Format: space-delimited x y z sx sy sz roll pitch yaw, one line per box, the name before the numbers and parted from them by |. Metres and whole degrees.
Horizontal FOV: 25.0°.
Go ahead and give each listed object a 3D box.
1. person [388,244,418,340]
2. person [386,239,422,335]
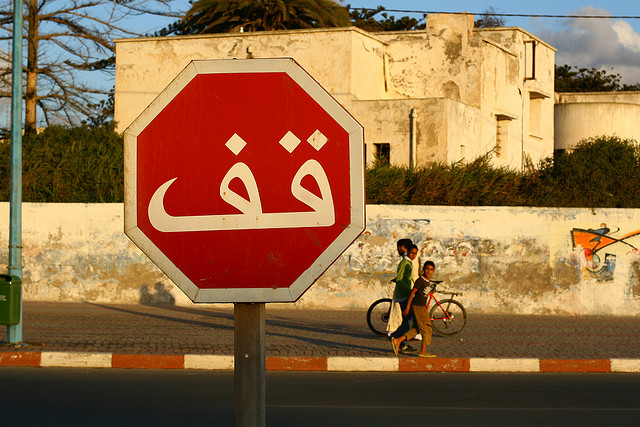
person | 2.419 2.276 40.810 0.693 2.779 0.965 4 -1 -14
person | 2.356 2.246 41.227 0.874 2.987 1.000 9 10 32
